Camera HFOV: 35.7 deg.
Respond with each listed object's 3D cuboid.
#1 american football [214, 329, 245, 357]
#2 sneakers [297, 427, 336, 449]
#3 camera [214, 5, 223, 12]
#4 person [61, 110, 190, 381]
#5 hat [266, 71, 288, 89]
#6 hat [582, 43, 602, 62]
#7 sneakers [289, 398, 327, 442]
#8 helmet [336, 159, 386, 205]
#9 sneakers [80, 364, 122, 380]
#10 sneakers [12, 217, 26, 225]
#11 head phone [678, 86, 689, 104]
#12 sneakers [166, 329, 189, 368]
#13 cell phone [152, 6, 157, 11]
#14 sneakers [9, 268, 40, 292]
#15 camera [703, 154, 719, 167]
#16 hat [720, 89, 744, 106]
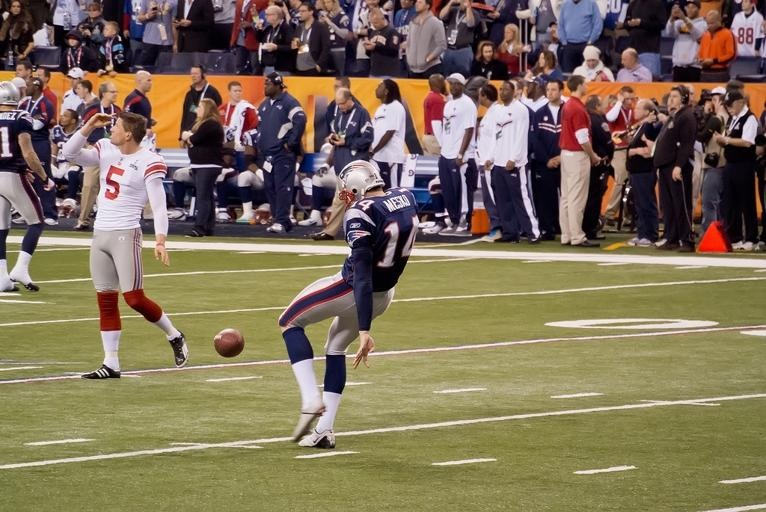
[{"bbox_3d":[-1.432,0.840,11.444,0.299,0.254,0.287,12,-2,22],"label":"american football"},{"bbox_3d":[-0.553,1.568,10.217,0.365,0.132,0.136,2,-1,15],"label":"sneakers"},{"bbox_3d":[-3.883,-5.880,28.162,0.207,0.102,0.183,3,7,15],"label":"camera"},{"bbox_3d":[-2.767,-0.136,12.510,1.323,2.756,0.920,-2,-1,42],"label":"person"},{"bbox_3d":[-2.024,-3.342,22.545,0.291,0.344,0.646,-1,0,1],"label":"hat"},{"bbox_3d":[4.183,-4.072,23.719,0.316,0.284,0.394,-6,22,7],"label":"hat"},{"bbox_3d":[-0.609,1.414,10.196,0.299,0.369,0.198,-1,0,41],"label":"sneakers"},{"bbox_3d":[-0.201,-0.658,10.422,0.449,0.370,0.328,1,2,22],"label":"helmet"},{"bbox_3d":[-2.845,1.181,12.154,0.442,0.147,0.136,3,-2,-8],"label":"sneakers"},{"bbox_3d":[-7.320,-0.720,23.950,0.336,0.103,0.271,2,5,-5],"label":"sneakers"},{"bbox_3d":[5.028,-2.690,19.857,0.182,0.282,0.392,-1,0,16],"label":"head phone"},{"bbox_3d":[-2.145,0.948,12.458,0.162,0.419,0.210,-9,13,25],"label":"sneakers"},{"bbox_3d":[-5.317,-5.826,27.853,0.128,0.072,0.066,0,0,-10],"label":"cell phone"},{"bbox_3d":[-5.040,0.358,16.783,0.480,0.198,0.174,28,15,-29],"label":"sneakers"},{"bbox_3d":[5.576,-1.639,20.146,0.242,0.203,0.232,-3,5,-31],"label":"camera"},{"bbox_3d":[5.793,-2.621,19.665,0.312,0.221,0.203,-1,0,14],"label":"hat"}]
